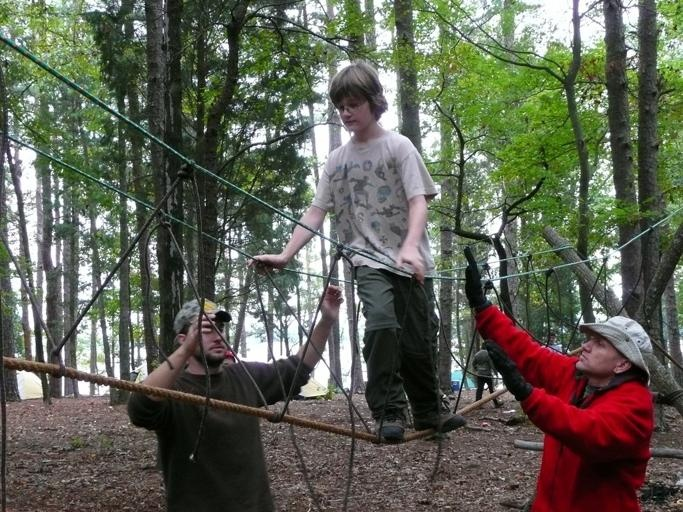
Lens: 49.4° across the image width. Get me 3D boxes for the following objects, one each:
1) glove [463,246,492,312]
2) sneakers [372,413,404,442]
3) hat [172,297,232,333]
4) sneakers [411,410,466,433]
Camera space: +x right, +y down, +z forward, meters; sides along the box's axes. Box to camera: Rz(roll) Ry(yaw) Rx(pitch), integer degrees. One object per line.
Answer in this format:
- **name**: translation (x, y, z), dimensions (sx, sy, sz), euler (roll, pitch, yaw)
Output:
- **glove**: translation (1.208, 0.238, 6.566), dimensions (0.170, 0.641, 0.188), euler (-11, -8, -18)
- **sneakers**: translation (0.409, 1.459, 6.315), dimensions (0.250, 0.230, 0.203), euler (-2, -5, 4)
- **hat**: translation (-1.267, 0.508, 6.577), dimensions (0.445, 0.238, 0.301), euler (-26, -11, 9)
- **sneakers**: translation (0.874, 1.441, 6.576), dimensions (0.535, 0.250, 0.186), euler (-4, -9, -6)
